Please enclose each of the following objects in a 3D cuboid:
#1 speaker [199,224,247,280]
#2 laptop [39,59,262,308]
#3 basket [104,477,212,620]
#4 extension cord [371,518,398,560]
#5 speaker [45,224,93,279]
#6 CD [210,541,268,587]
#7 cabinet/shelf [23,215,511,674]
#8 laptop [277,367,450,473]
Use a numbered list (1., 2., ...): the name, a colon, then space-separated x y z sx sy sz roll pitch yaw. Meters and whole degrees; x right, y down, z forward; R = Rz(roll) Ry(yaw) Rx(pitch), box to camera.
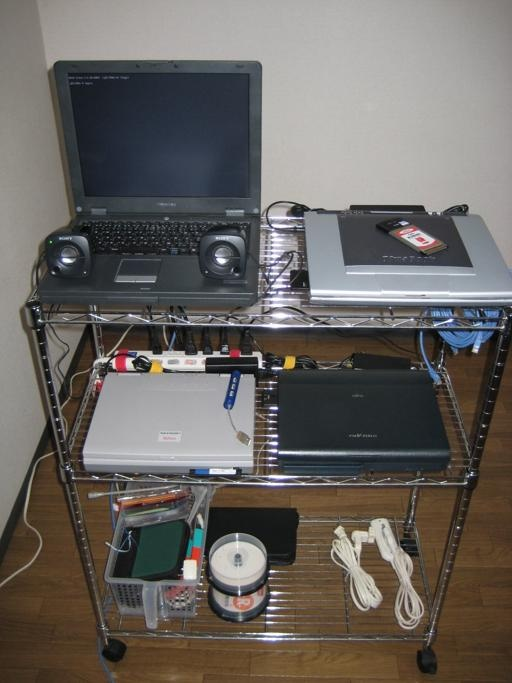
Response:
1. speaker: -0.060 -0.159 1.064 0.082 0.094 0.043 0 34 2
2. laptop: -0.196 -0.323 1.198 0.485 0.413 0.367 0 44 -3
3. basket: -0.222 0.584 1.587 0.299 0.329 0.272 3 42 -3
4. extension cord: 0.358 0.555 1.663 0.071 0.037 0.113 14 36 -10
5. speaker: -0.331 -0.165 1.067 0.085 0.079 0.086 -1 28 -13
6. CD: -0.037 0.545 1.477 0.133 0.083 0.140 -2 41 -1
7. cabinet/shelf: 0.013 0.198 1.979 1.450 1.586 0.780 0 35 0
8. laptop: 0.217 0.162 1.249 0.340 0.090 0.263 0 33 2
